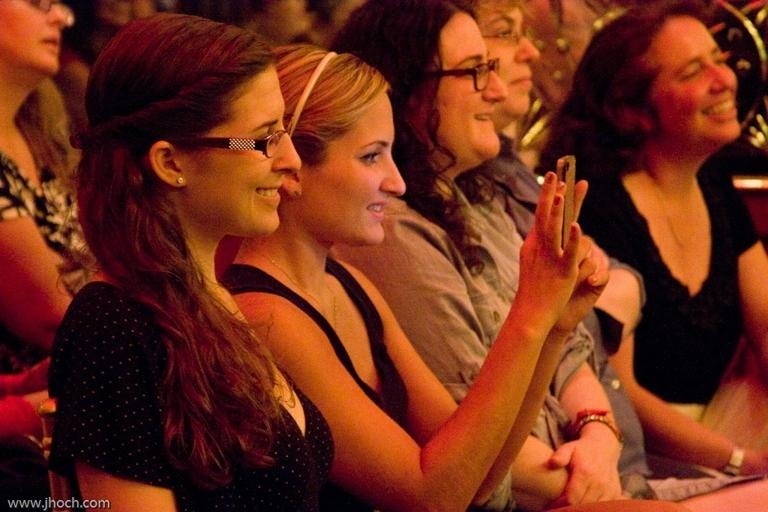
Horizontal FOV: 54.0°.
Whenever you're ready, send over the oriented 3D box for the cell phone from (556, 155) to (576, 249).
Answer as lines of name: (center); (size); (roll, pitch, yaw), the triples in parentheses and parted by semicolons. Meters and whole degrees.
cell phone: (0.398, -0.120, 1.654); (0.044, 0.188, 0.096); (4, 1, 15)
